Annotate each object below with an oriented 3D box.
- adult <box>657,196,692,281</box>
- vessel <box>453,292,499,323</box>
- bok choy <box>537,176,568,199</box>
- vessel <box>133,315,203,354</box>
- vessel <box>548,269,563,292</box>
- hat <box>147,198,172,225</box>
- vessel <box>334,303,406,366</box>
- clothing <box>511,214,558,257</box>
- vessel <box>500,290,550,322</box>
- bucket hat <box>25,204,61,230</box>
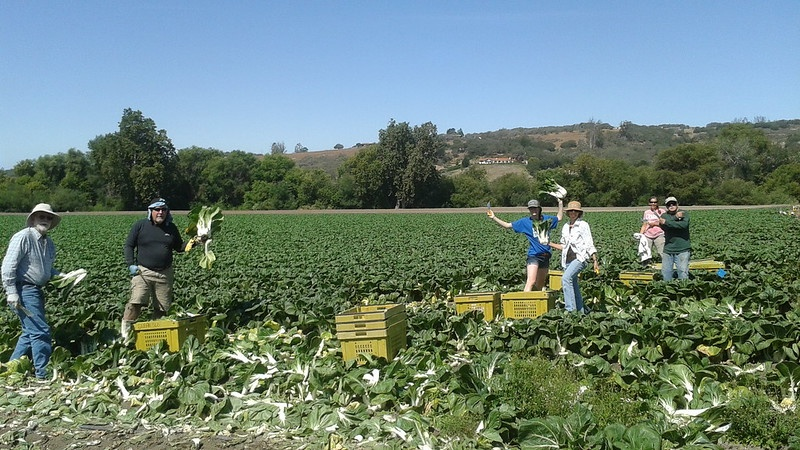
[{"bbox_3d":[7.461,0.602,14.247,0.855,2.554,0.902,-2,-5,45],"label":"adult"},{"bbox_3d":[1.798,1.859,12.015,0.807,0.431,0.767,-2,-7,15],"label":"vessel"},{"bbox_3d":[4.184,-0.985,14.289,0.700,0.604,0.386,25,0,41],"label":"bok choy"},{"bbox_3d":[-5.239,2.422,11.378,1.195,0.502,1.223,-13,-14,32],"label":"vessel"},{"bbox_3d":[4.140,1.472,14.010,0.524,0.622,0.498,1,8,10],"label":"vessel"},{"bbox_3d":[-5.466,-0.343,12.200,0.632,0.625,0.649,2,-6,-37],"label":"hat"},{"bbox_3d":[-0.553,2.121,10.227,1.323,0.826,1.166,-3,-6,-10],"label":"vessel"},{"bbox_3d":[3.432,0.324,13.452,1.142,1.017,0.489,-2,-22,2],"label":"clothing"},{"bbox_3d":[2.852,1.781,11.760,0.787,0.364,0.761,-2,-1,22],"label":"vessel"},{"bbox_3d":[-7.717,-0.246,11.312,0.637,0.359,0.720,1,-15,-18],"label":"bucket hat"}]
